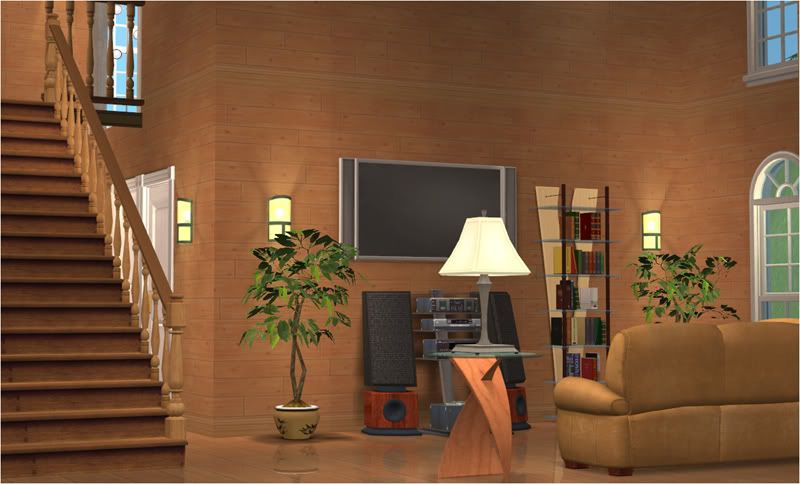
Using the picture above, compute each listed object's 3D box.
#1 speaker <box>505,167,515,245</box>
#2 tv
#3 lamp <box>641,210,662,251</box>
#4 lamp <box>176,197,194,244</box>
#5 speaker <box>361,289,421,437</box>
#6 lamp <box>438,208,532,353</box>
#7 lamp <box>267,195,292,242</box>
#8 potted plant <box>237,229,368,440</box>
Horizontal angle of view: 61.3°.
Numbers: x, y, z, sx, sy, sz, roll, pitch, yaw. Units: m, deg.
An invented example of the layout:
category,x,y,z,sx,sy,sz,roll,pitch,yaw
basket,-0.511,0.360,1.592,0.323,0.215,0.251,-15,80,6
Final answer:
category,x,y,z,sx,sy,sz,roll,pitch,yaw
speaker,1.477,-0.491,8.928,0.096,1.070,0.232,-11,22,-18
tv,0.261,-0.361,8.053,1.650,0.806,0.065,1,-5,-19
lamp,3.512,-0.166,9.448,0.271,0.565,0.153,1,-6,-16
lamp,-2.610,-0.269,8.176,0.098,0.545,0.246,5,-7,-43
speaker,-0.130,1.394,8.000,0.648,1.626,0.659,0,-5,-4
lamp,0.707,0.339,5.748,0.733,1.171,0.367,0,-5,2
lamp,-1.364,-0.221,8.026,0.397,0.570,0.234,-12,-20,25
potted plant,-1.164,0.993,7.695,1.296,2.382,0.869,1,-5,-10
